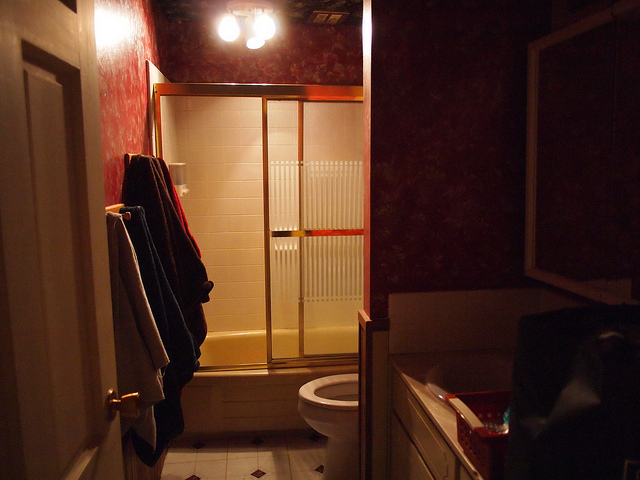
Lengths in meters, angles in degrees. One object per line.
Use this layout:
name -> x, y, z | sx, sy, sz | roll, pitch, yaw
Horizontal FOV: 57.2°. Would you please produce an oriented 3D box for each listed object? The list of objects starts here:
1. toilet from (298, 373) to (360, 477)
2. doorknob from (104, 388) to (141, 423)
toilet -> 0.057, 0.893, 2.786 | 0.282, 0.464, 0.354 | -7, 0, 2
doorknob -> -0.552, 0.456, 1.642 | 0.080, 0.099, 0.068 | -5, 6, -4
